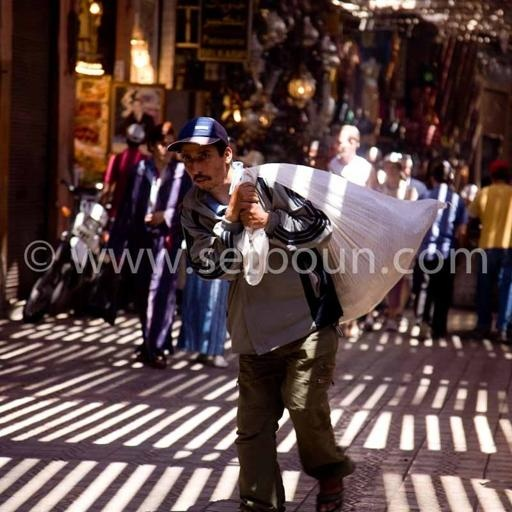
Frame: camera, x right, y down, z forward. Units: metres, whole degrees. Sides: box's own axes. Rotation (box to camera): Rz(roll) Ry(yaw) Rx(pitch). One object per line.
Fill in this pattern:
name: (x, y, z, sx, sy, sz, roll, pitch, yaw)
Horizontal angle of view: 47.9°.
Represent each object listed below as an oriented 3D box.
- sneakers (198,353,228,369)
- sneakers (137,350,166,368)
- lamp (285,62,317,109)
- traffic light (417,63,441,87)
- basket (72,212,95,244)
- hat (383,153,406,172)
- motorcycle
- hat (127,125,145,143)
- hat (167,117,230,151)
sneakers: (-0.392, 0.979, 5.335, 0.299, 0.135, 0.104, -3, 0, 37)
sneakers: (-0.956, 0.932, 5.207, 0.359, 0.128, 0.115, 3, 2, 37)
lamp: (0.867, -3.096, 10.489, 0.613, 1.104, 0.682, 2, -3, -1)
traffic light: (5.383, -5.711, 17.993, 0.254, 0.702, 0.680, 6, -17, -32)
basket: (-2.107, -0.361, 6.995, 0.263, 0.346, 0.106, 2, 1, -7)
hat: (1.732, -1.211, 7.262, 0.249, 0.301, 0.839, 2, 1, 14)
motorcycle: (-2.291, 0.027, 7.025, 0.939, 1.556, 0.585, 1, 1, -13)
hat: (-1.408, -1.428, 6.721, 0.157, 0.248, 0.316, 2, 1, -2)
hat: (-0.173, -0.416, 1.911, 0.116, 0.087, 0.164, -12, -16, 37)
